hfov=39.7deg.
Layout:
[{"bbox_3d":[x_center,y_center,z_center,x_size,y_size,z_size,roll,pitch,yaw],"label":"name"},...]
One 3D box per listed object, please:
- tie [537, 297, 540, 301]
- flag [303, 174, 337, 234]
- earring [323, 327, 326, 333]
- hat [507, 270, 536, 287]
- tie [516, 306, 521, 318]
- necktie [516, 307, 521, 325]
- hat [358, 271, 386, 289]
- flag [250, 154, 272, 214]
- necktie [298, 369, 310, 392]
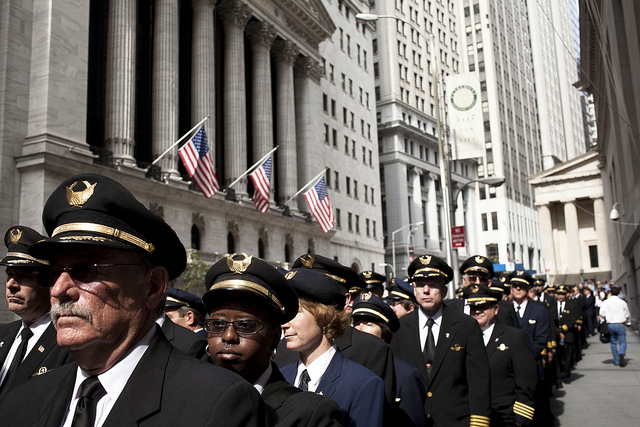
[{"bbox_3d":[10.668,4.208,43.577,0.114,0.149,0.045,-1,-12,35],"label":"tie"},{"bbox_3d":[0.057,-0.767,63.432,1.847,4.554,2.523,2,-14,10],"label":"flag"},{"bbox_3d":[0.150,3.941,30.170,0.061,0.178,0.183,-4,24,4],"label":"earring"},{"bbox_3d":[8.599,2.812,38.338,0.910,0.755,1.051,2,-14,12],"label":"hat"},{"bbox_3d":[8.463,4.244,38.035,0.150,0.442,0.024,7,-24,10],"label":"tie"},{"bbox_3d":[8.414,4.406,37.869,0.228,0.705,0.060,7,-41,12],"label":"necktie"},{"bbox_3d":[2.014,2.672,35.358,1.146,0.837,0.717,16,-18,-39],"label":"hat"},{"bbox_3d":[-3.929,-2.179,60.313,1.021,3.916,2.389,5,-14,1],"label":"flag"},{"bbox_3d":[-0.536,5.696,30.238,0.251,0.804,0.236,9,-6,4],"label":"necktie"}]
